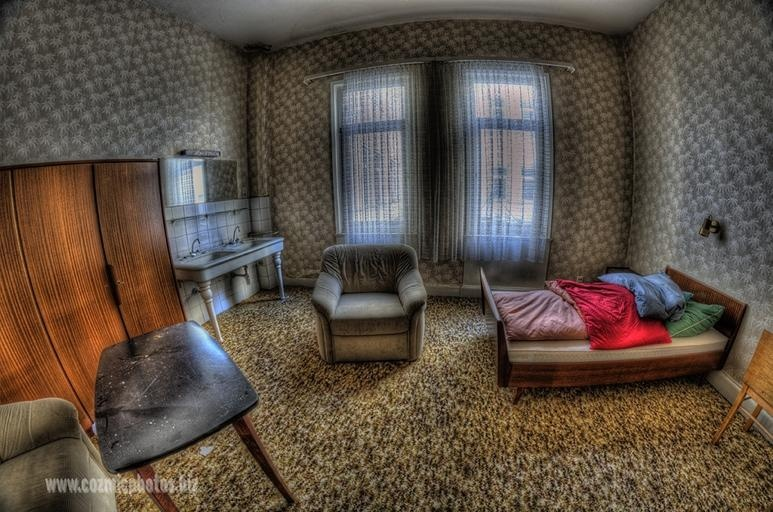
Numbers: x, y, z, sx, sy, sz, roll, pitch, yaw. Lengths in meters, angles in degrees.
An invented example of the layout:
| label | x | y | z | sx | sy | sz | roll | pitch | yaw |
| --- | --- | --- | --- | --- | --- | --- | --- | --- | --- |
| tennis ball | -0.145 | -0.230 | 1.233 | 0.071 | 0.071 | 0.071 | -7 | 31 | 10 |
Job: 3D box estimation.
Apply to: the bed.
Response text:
| label | x | y | z | sx | sy | sz | roll | pitch | yaw |
| --- | --- | --- | --- | --- | --- | --- | --- | --- | --- |
| bed | 2.060 | 0.698 | 4.538 | 1.794 | 0.830 | 1.100 | -2 | 32 | 0 |

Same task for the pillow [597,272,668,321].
| label | x | y | z | sx | sy | sz | roll | pitch | yaw |
| --- | --- | --- | --- | --- | --- | --- | --- | --- | --- |
| pillow | 2.395 | 0.361 | 4.602 | 0.348 | 0.129 | 0.420 | 7 | 17 | 2 |

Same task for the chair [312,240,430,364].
| label | x | y | z | sx | sy | sz | roll | pitch | yaw |
| --- | --- | --- | --- | --- | --- | --- | --- | --- | --- |
| chair | -0.170 | 0.550 | 5.171 | 1.154 | 1.097 | 1.108 | -1 | 11 | 1 |

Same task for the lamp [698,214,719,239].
| label | x | y | z | sx | sy | sz | roll | pitch | yaw |
| --- | --- | --- | --- | --- | --- | --- | --- | --- | --- |
| lamp | 3.070 | -0.275 | 4.588 | 0.165 | 0.220 | 0.124 | 2 | 13 | 25 |

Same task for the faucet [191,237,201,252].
| label | x | y | z | sx | sy | sz | roll | pitch | yaw |
| --- | --- | --- | --- | --- | --- | --- | --- | --- | --- |
| faucet | -2.130 | -0.118 | 5.367 | 0.046 | 0.144 | 0.152 | -1 | 12 | 12 |

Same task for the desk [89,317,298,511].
| label | x | y | z | sx | sy | sz | roll | pitch | yaw |
| --- | --- | --- | --- | --- | --- | --- | --- | --- | --- |
| desk | -1.784 | 1.450 | 4.124 | 1.043 | 1.042 | 1.950 | -20 | 22 | -31 |

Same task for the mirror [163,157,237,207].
| label | x | y | z | sx | sy | sz | roll | pitch | yaw |
| --- | --- | --- | --- | --- | --- | --- | --- | --- | --- |
| mirror | -2.061 | -0.835 | 5.448 | 0.885 | 0.471 | 0.113 | -4 | 0 | -2 |
